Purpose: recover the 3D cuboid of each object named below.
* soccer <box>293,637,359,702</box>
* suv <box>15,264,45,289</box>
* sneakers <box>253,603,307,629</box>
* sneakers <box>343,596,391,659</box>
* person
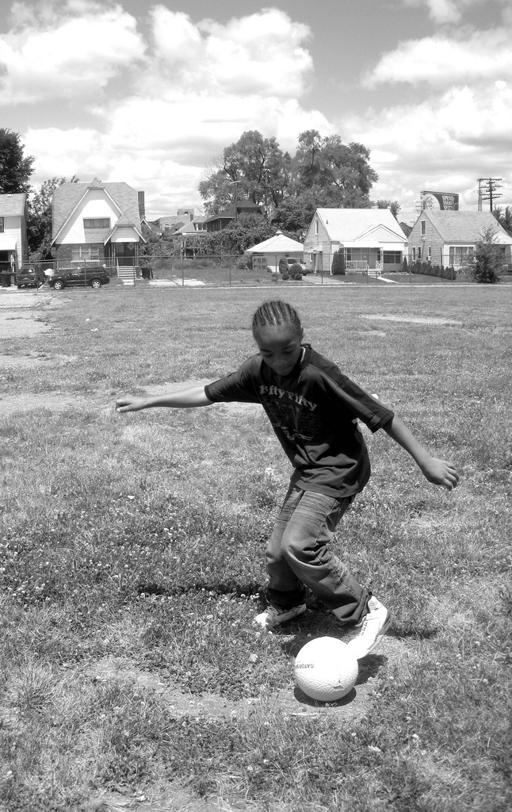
[{"bbox_3d":[0.277,1.072,2.859,0.261,0.291,0.263,-10,-18,41],"label":"soccer"},{"bbox_3d":[-15.661,-8.796,49.237,1.525,1.404,2.042,-4,11,-25],"label":"suv"},{"bbox_3d":[0.114,0.995,3.431,0.252,0.124,0.088,0,-6,-34],"label":"sneakers"},{"bbox_3d":[0.485,1.025,3.105,0.122,0.149,0.339,-49,0,39],"label":"sneakers"},{"bbox_3d":[0.224,0.392,3.187,1.284,1.357,0.469,8,12,40],"label":"person"}]
